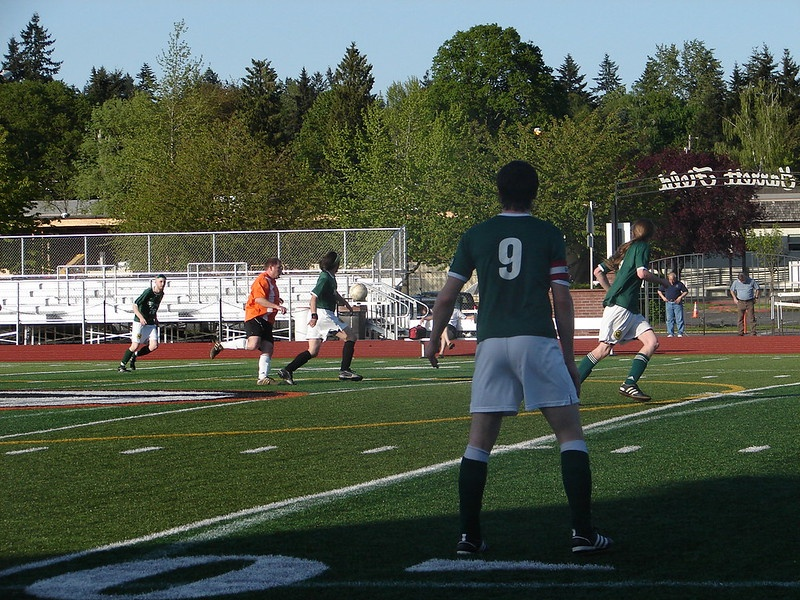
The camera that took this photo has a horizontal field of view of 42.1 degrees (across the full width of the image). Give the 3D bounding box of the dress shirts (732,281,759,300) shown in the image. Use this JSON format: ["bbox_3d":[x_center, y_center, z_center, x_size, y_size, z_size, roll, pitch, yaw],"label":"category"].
[{"bbox_3d":[10.458,-0.301,31.502,0.890,0.718,0.527,-1,-9,23],"label":"dress shirts"}]

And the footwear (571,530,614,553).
[{"bbox_3d":[1.279,1.561,6.803,0.304,0.138,0.107,-1,2,-27],"label":"footwear"}]

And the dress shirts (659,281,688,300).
[{"bbox_3d":[7.352,-0.273,27.938,0.585,0.475,0.261,1,-6,10],"label":"dress shirts"}]

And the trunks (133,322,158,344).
[{"bbox_3d":[-5.038,0.619,20.489,0.420,0.367,0.235,6,-4,-43],"label":"trunks"}]

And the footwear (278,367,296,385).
[{"bbox_3d":[-1.774,1.192,16.276,0.202,0.294,0.674,-2,3,-6],"label":"footwear"}]

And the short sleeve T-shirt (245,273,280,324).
[{"bbox_3d":[-2.146,-0.044,16.204,0.551,0.799,0.471,-2,2,-15],"label":"short sleeve T-shirt"}]

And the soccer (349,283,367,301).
[{"bbox_3d":[-1.257,-0.322,30.901,0.514,0.527,0.533,-2,-17,43],"label":"soccer"}]

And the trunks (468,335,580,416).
[{"bbox_3d":[0.827,0.501,7.064,0.803,0.522,0.398,-9,-10,28],"label":"trunks"}]

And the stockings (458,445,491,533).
[{"bbox_3d":[0.482,1.264,6.926,0.168,0.583,0.275,0,2,25],"label":"stockings"}]

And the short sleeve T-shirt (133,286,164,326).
[{"bbox_3d":[-4.883,0.119,20.314,0.360,0.721,0.629,-1,3,19],"label":"short sleeve T-shirt"}]

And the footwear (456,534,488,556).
[{"bbox_3d":[0.471,1.611,6.866,0.085,0.101,0.241,2,0,28],"label":"footwear"}]

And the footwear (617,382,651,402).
[{"bbox_3d":[2.929,1.167,13.044,0.406,0.189,0.194,17,9,6],"label":"footwear"}]

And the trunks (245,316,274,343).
[{"bbox_3d":[-2.211,0.393,16.222,0.506,0.369,0.353,6,3,-16],"label":"trunks"}]

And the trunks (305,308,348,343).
[{"bbox_3d":[-1.172,0.376,16.319,0.756,0.505,0.446,-2,3,-11],"label":"trunks"}]

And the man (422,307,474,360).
[{"bbox_3d":[1.486,0.911,28.457,1.858,0.830,1.144,-1,0,-1],"label":"man"}]

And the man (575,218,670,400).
[{"bbox_3d":[2.730,0.110,13.158,1.286,2.349,0.803,5,-8,2],"label":"man"}]

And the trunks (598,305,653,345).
[{"bbox_3d":[2.805,0.314,13.027,0.806,0.587,0.456,1,1,-10],"label":"trunks"}]

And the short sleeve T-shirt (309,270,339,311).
[{"bbox_3d":[-1.158,-0.132,16.406,0.319,0.650,0.746,2,-10,23],"label":"short sleeve T-shirt"}]

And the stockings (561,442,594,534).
[{"bbox_3d":[1.164,1.224,6.821,0.195,0.592,0.276,-1,2,9],"label":"stockings"}]

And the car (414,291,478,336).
[{"bbox_3d":[1.306,0.448,32.970,2.238,1.105,1.233,1,1,7],"label":"car"}]
